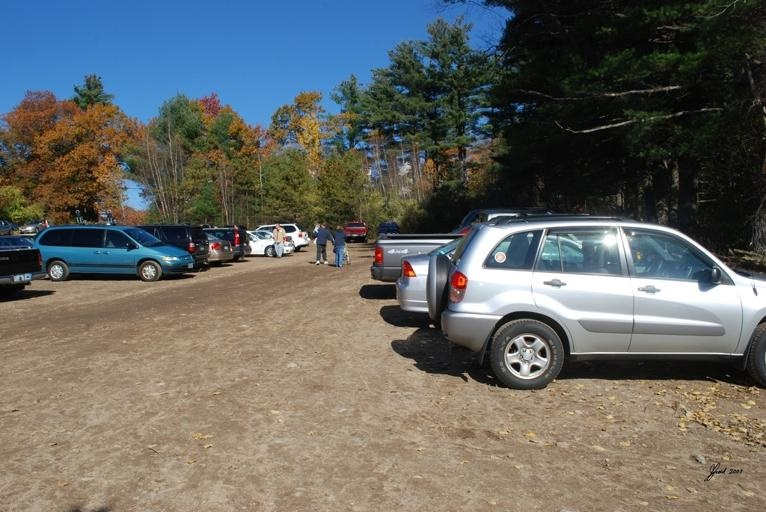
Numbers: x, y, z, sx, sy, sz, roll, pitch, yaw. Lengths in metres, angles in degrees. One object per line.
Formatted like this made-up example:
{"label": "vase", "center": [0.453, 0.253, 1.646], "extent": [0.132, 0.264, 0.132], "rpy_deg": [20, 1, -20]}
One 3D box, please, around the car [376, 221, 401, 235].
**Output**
{"label": "car", "center": [0.517, -2.419, 45.309], "extent": [1.444, 1.263, 2.785], "rpy_deg": [-1, -5, -5]}

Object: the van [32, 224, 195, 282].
{"label": "van", "center": [-10.109, -0.178, 20.210], "extent": [5.109, 1.695, 2.336], "rpy_deg": [-1, 2, -6]}

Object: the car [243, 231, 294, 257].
{"label": "car", "center": [-6.974, -0.722, 33.205], "extent": [2.901, 0.890, 1.254], "rpy_deg": [-1, 2, 0]}

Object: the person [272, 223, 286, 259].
{"label": "person", "center": [-6.267, -0.866, 31.947], "extent": [0.655, 2.046, 1.173], "rpy_deg": [-3, 10, -13]}

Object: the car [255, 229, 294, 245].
{"label": "car", "center": [-7.154, -1.297, 33.582], "extent": [2.474, 1.015, 1.099], "rpy_deg": [-2, 6, -2]}

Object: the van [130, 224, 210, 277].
{"label": "van", "center": [-9.176, -0.597, 22.864], "extent": [3.144, 1.442, 1.491], "rpy_deg": [4, 2, 5]}
